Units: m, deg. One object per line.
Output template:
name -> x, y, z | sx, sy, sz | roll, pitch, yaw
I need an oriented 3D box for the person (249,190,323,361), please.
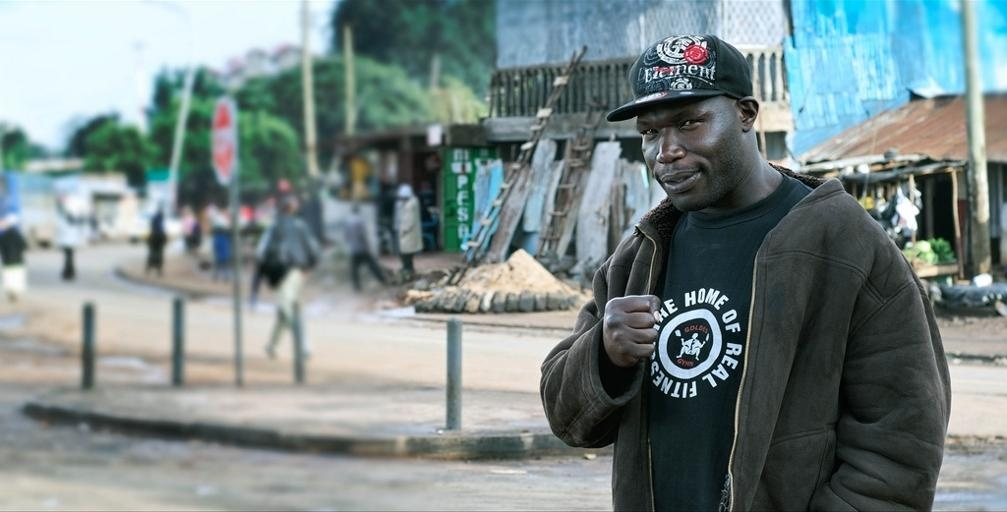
person -> -2.838, 0.288, 20.888 | 0.573, 2.023, 1.092 | 1, 0, -30

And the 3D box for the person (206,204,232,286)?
person -> -3.757, -0.199, 21.099 | 0.328, 0.958, 0.648 | 1, 0, -6

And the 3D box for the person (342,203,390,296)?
person -> -1.692, -0.105, 19.068 | 0.415, 0.972, 1.320 | 1, 0, -15

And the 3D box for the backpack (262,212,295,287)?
backpack -> -3.004, -0.056, 20.908 | 0.297, 0.844, 0.585 | 7, -1, -10

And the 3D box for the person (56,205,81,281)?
person -> -5.783, -0.197, 21.174 | 0.273, 1.063, 0.316 | 1, 0, -17

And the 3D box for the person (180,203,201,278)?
person -> -4.125, -0.291, 21.105 | 0.263, 0.802, 0.282 | 1, 0, -12

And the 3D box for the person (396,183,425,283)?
person -> -0.993, -0.272, 16.701 | 0.182, 0.919, 0.430 | 1, 0, -27

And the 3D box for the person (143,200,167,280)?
person -> -4.713, -0.179, 21.047 | 0.266, 1.105, 0.550 | 3, -6, 3
